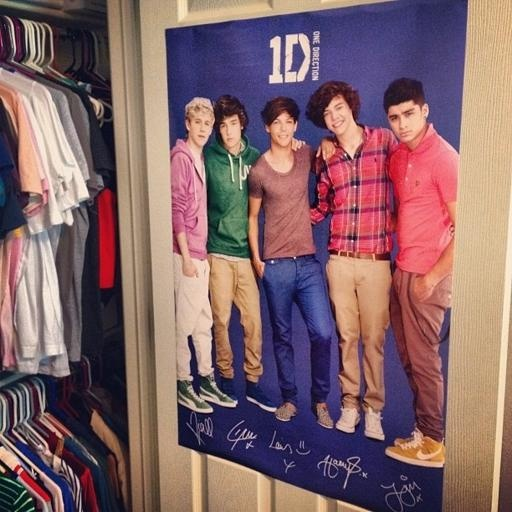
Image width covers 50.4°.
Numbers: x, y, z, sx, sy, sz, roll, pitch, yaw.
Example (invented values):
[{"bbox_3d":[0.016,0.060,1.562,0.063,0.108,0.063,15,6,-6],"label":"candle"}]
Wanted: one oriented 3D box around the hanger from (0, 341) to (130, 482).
[{"bbox_3d":[-0.700,0.638,1.989,0.434,0.485,0.202,-4,7,-32],"label":"hanger"}]
